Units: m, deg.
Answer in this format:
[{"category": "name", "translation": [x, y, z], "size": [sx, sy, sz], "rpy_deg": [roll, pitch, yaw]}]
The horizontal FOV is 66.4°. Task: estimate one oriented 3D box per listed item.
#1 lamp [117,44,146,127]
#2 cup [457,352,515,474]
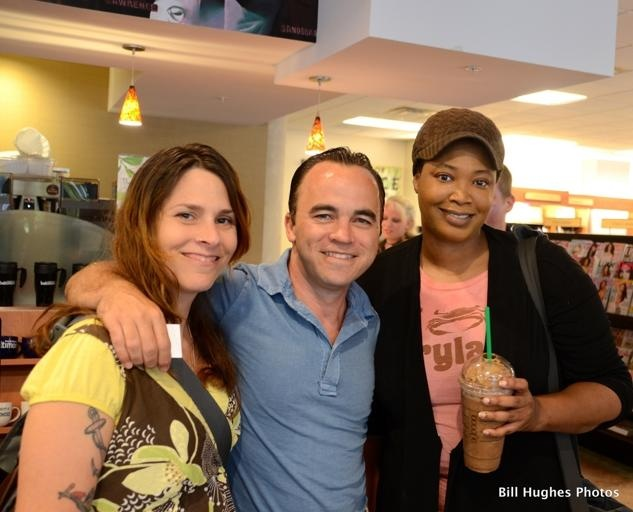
[{"category": "lamp", "translation": [-2.105, -1.959, 5.504], "size": [0.256, 0.790, 0.236], "rpy_deg": [-3, 21, -35]}, {"category": "cup", "translation": [0.536, 0.488, 1.503], "size": [0.164, 0.352, 0.141], "rpy_deg": [-3, 5, -27]}]
